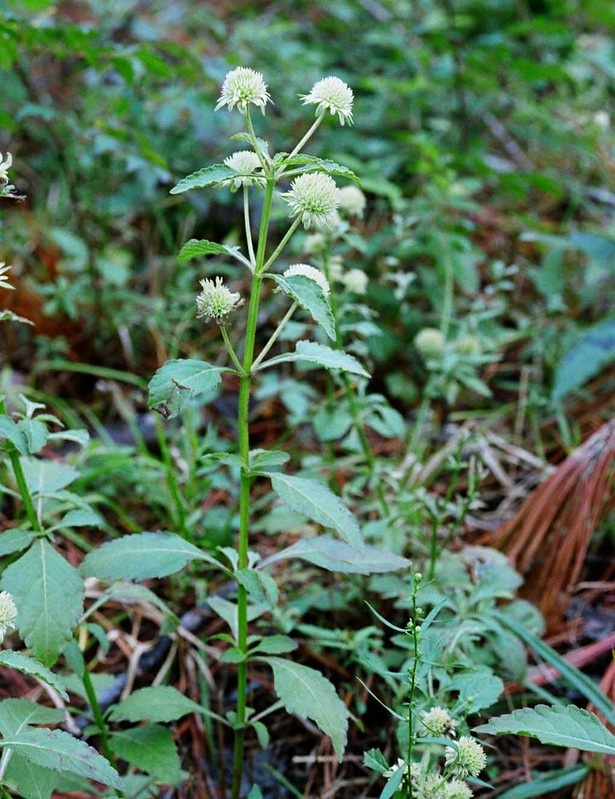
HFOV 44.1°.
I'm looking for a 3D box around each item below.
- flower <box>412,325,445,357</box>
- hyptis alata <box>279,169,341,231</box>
[{"bbox_3d":[0.439,-0.206,2.742,0.107,0.102,0.063,-6,-8,15],"label":"flower"},{"bbox_3d":[0.007,-0.508,2.004,0.146,0.165,0.251,7,27,-2],"label":"hyptis alata"}]
